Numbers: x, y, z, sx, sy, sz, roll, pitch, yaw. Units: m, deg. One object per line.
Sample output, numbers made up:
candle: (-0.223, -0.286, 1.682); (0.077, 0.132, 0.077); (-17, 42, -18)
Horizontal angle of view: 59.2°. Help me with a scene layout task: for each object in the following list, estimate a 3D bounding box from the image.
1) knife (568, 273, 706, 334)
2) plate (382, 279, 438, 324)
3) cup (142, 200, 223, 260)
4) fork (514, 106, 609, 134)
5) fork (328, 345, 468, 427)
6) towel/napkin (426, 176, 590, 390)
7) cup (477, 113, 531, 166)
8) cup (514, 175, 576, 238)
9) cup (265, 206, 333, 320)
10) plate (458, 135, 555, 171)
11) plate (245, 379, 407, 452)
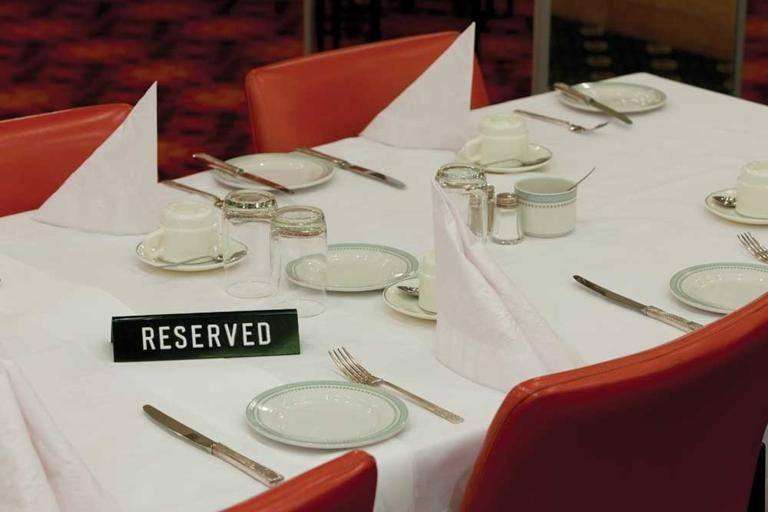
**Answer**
knife: (0.414, 0.080, 1.094); (0.161, 0.014, 0.022); (31, 57, 33)
plate: (0.037, 0.074, 1.106); (0.072, 0.010, 0.071); (-6, 36, -24)
cup: (-0.365, -0.049, 1.237); (0.125, 0.086, 0.122); (11, 26, -5)
fork: (0.478, -0.357, 1.783); (0.045, 0.050, 0.299); (-30, 35, -34)
fork: (0.021, 0.181, 0.918); (0.155, 0.019, 0.024); (30, 36, 30)
towel/napkin: (0.181, 0.035, 0.948); (0.221, 0.243, 0.184); (6, 35, 20)
cup: (0.287, -0.265, 1.558); (0.129, 0.090, 0.083); (2, 22, 14)
cup: (0.331, -0.093, 1.346); (0.110, 0.086, 0.108); (-5, 16, 2)
cup: (-0.146, 0.008, 1.161); (0.096, 0.169, 0.096); (1, 17, 0)
plate: (0.281, -0.225, 1.596); (0.206, 0.033, 0.211); (-5, -10, 11)
plate: (-0.070, 0.189, 0.852); (0.201, 0.208, 0.020); (-12, 57, 31)
